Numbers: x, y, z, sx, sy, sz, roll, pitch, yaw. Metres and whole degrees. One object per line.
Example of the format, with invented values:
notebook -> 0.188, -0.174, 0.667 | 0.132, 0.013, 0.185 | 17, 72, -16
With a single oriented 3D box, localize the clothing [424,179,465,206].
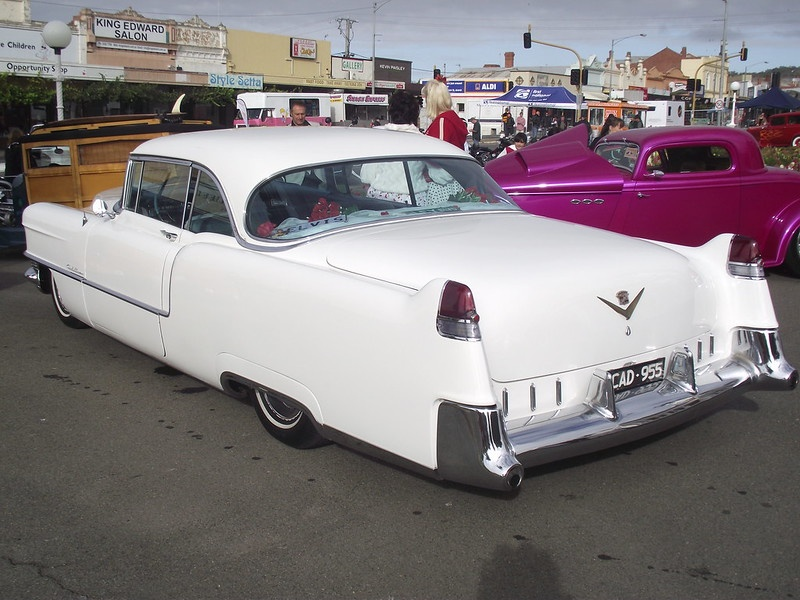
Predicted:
clothing -> 0.328, -0.797, 4.368 | 0.215, 0.086, 0.266 | -8, 10, -25

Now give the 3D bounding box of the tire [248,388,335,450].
tire -> -0.665, 0.704, 3.797 | 0.445, 0.118, 0.457 | 15, -25, 41

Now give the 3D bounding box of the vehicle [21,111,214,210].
vehicle -> -4.896, -1.860, 10.271 | 2.392, 1.772, 1.450 | -8, -13, -17

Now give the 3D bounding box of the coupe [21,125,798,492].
coupe -> -0.047, -0.127, 3.987 | 4.739, 1.975, 2.075 | 9, 17, 30

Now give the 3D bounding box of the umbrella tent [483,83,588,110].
umbrella tent -> 9.140, -12.797, 38.105 | 4.342, 1.087, 4.221 | 7, 12, 25

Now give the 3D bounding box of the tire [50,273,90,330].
tire -> -2.973, 0.007, 5.448 | 0.394, 0.403, 0.142 | 37, 26, 31
